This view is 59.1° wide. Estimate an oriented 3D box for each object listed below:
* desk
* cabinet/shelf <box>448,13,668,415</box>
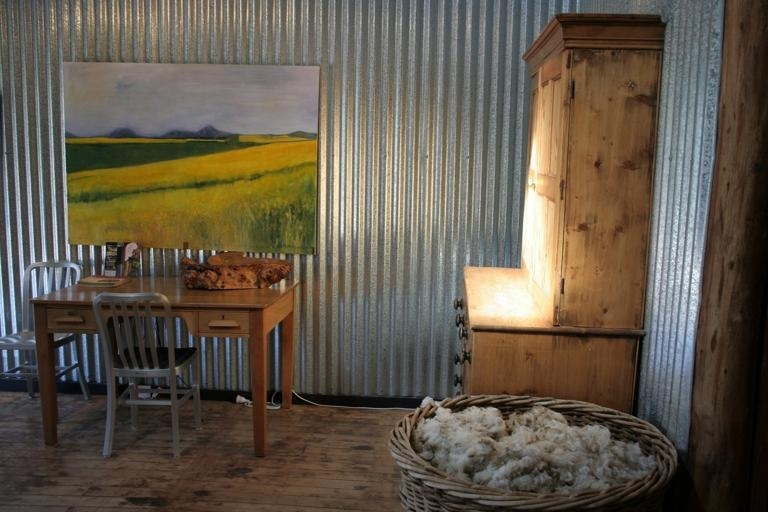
[{"bbox_3d":[-1.617,0.719,4.682,1.430,0.896,0.852,2,0,-15],"label":"desk"},{"bbox_3d":[0.851,-0.231,3.741,0.868,2.037,1.036,-1,3,-14],"label":"cabinet/shelf"}]
